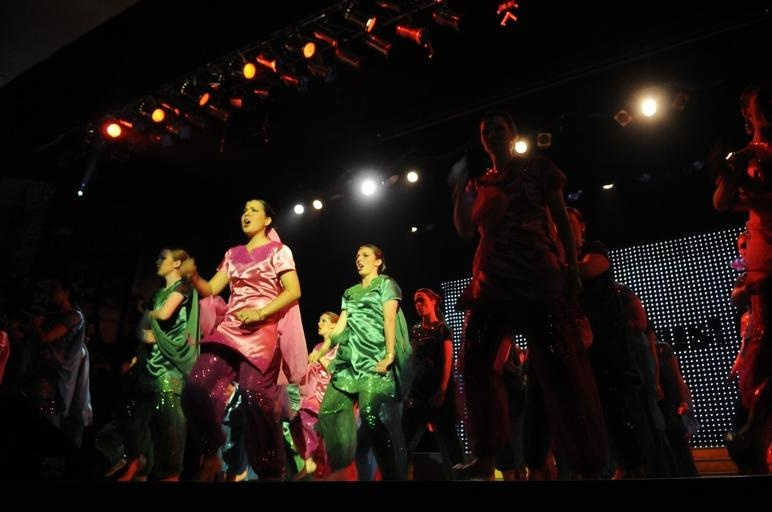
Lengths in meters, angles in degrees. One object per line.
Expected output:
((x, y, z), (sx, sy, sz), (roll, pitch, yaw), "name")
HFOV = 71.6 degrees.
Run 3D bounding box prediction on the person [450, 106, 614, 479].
((0.995, 0.253, 4.095), (0.993, 2.608, 0.982), (-9, -29, 19), "person")
